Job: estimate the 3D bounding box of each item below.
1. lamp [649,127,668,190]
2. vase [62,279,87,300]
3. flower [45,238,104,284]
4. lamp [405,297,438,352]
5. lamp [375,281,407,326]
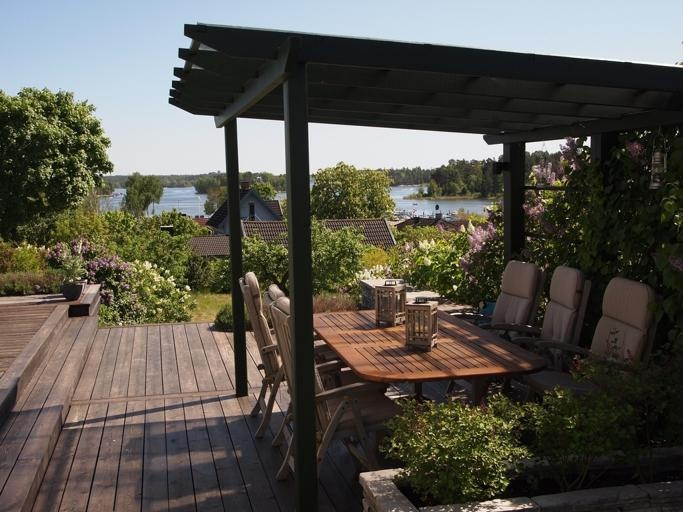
[{"bbox_3d":[2.664,-0.823,4.477,0.116,0.497,0.455,4,10,30],"label":"lamp"},{"bbox_3d":[-4.238,0.557,8.495,0.324,0.285,0.307,0,-8,-6],"label":"vase"},{"bbox_3d":[-4.784,0.105,9.619,0.682,0.687,0.631,1,-11,38],"label":"flower"},{"bbox_3d":[0.589,0.506,3.985,0.193,0.313,0.206,-5,-4,19],"label":"lamp"},{"bbox_3d":[0.416,0.388,4.600,0.252,0.388,0.273,-2,5,-22],"label":"lamp"}]
